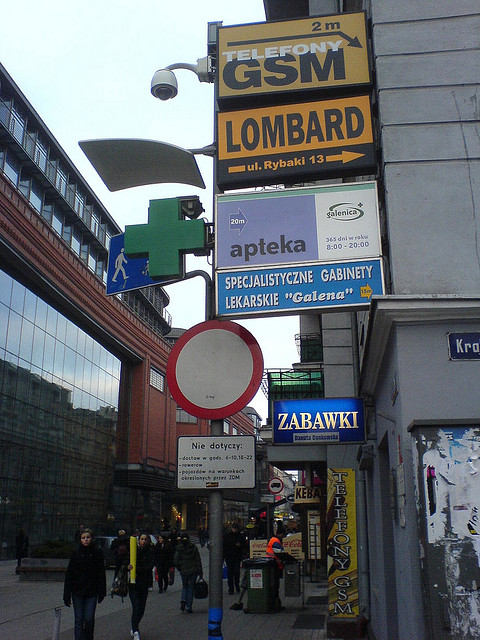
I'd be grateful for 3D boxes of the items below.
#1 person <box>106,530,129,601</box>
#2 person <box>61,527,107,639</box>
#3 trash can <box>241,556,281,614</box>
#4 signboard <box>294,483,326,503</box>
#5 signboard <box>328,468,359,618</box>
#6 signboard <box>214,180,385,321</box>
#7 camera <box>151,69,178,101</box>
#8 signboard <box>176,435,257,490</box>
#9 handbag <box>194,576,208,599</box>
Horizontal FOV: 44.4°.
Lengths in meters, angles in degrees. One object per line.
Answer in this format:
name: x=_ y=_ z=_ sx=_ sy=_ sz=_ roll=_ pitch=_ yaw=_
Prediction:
person: x=-3.045 y=6.009 z=14.996 sx=0.536 sy=1.630 sz=0.490 roll=7 pitch=20 yaw=2
person: x=-1.901 y=3.236 z=7.196 sx=0.502 sy=1.266 sz=0.811 roll=4 pitch=-17 yaw=-16
trash can: x=0.432 y=5.350 z=11.908 sx=0.719 sy=1.045 sz=0.968 roll=-2 pitch=-17 yaw=3
signboard: x=2.633 y=6.732 z=22.750 sx=1.046 sy=0.641 sz=4.114 roll=-3 pitch=-18 yaw=5
signboard: x=1.533 y=3.222 z=8.930 sx=0.435 sy=2.506 sz=0.105 roll=4 pitch=15 yaw=24
signboard: x=0.528 y=-0.610 z=5.259 sx=1.111 sy=1.082 sz=0.126 roll=-5 pitch=-26 yaw=8
camera: x=-0.867 y=-2.682 z=6.631 sx=0.275 sy=0.374 sz=0.183 roll=2 pitch=-16 yaw=-12
signboard: x=-0.142 y=0.916 z=3.781 sx=0.345 sy=0.281 sz=0.042 roll=-2 pitch=-14 yaw=10
handbag: x=-0.803 y=5.359 z=11.793 sx=0.251 sy=0.396 sz=1.028 roll=0 pitch=-18 yaw=-5
